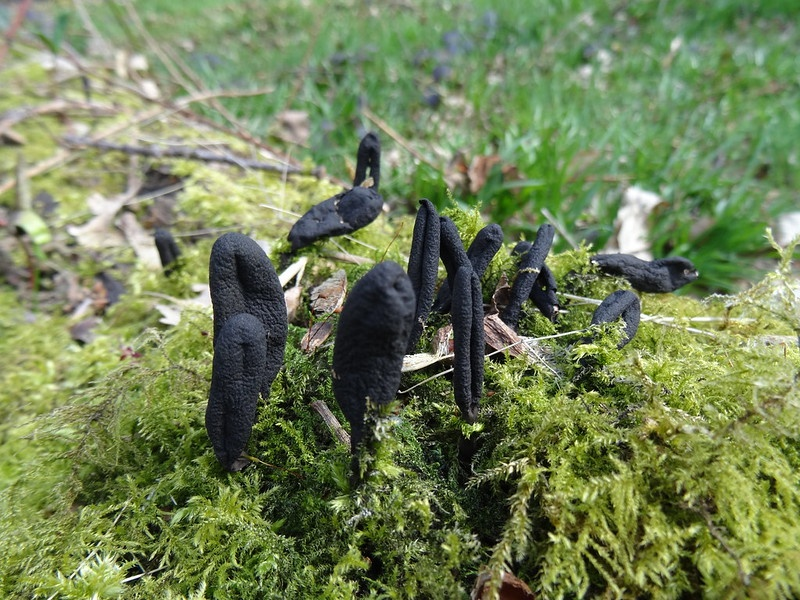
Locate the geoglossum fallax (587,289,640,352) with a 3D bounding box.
[{"bbox_3d":[0.913,0.088,3.054,0.220,0.262,0.077,1,31,-37],"label":"geoglossum fallax"}]

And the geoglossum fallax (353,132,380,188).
[{"bbox_3d":[-0.159,-0.718,3.546,0.121,0.295,0.245,5,46,-4],"label":"geoglossum fallax"}]

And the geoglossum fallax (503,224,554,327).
[{"bbox_3d":[0.567,-0.079,3.101,0.113,0.449,0.377,19,46,9],"label":"geoglossum fallax"}]

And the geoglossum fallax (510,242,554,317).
[{"bbox_3d":[0.608,-0.064,3.150,0.130,0.389,0.145,-18,6,9],"label":"geoglossum fallax"}]

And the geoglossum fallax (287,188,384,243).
[{"bbox_3d":[-0.315,-0.405,3.486,0.433,0.110,0.259,-38,43,-11],"label":"geoglossum fallax"}]
